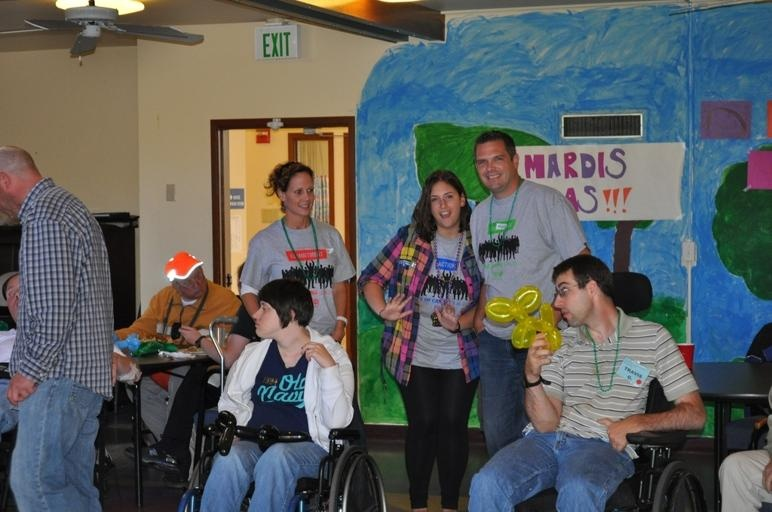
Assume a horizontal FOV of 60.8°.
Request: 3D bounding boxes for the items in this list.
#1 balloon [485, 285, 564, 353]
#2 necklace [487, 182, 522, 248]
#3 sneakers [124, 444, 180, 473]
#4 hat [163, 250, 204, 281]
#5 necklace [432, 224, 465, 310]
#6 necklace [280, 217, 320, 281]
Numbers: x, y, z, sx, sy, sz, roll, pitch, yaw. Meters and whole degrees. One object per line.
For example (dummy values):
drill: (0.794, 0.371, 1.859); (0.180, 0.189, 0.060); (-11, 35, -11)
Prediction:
balloon: (0.762, 0.346, 3.638); (0.339, 0.354, 0.248); (2, -4, -25)
necklace: (0.769, -0.259, 4.317); (0.212, 0.371, 0.089); (8, -2, 29)
sneakers: (-1.858, 1.576, 5.136); (0.525, 0.206, 0.237); (-2, -4, 37)
hat: (-1.721, 0.083, 5.589); (0.211, 0.160, 0.340); (-25, 9, 7)
necklace: (0.414, 0.096, 4.448); (0.302, 0.574, 0.141); (0, -1, 5)
necklace: (-0.641, -0.034, 4.844); (0.293, 0.467, 0.142); (1, -3, -10)
